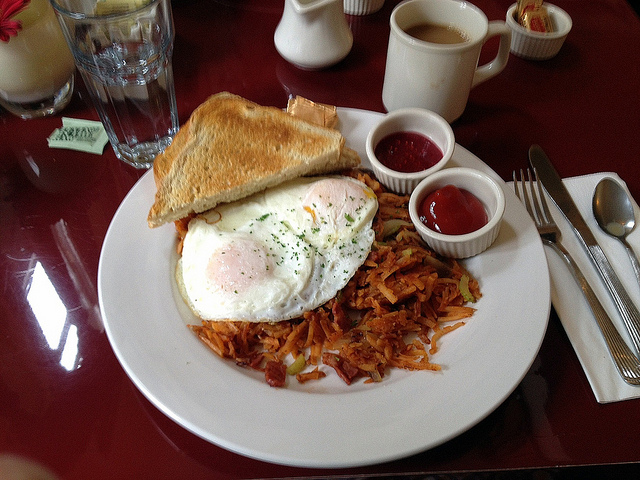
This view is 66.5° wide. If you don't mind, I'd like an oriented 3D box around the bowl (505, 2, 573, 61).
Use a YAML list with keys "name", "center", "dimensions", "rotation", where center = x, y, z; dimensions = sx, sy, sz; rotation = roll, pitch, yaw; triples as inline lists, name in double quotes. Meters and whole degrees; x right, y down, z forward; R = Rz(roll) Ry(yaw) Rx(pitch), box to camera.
- name: "bowl"
  center: [1.116, -1.084, 2.497]
  dimensions: [0.280, 0.126, 0.389]
  rotation: [2, 72, 5]

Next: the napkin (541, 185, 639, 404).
- name: "napkin"
  center: [0.936, 0.197, 1.790]
  dimensions: [0.161, 0.045, 0.734]
  rotation: [-14, 62, 2]

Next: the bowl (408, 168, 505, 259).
- name: "bowl"
  center: [0.532, -0.113, 1.898]
  dimensions: [0.382, 0.195, 0.308]
  rotation: [11, 65, 2]
